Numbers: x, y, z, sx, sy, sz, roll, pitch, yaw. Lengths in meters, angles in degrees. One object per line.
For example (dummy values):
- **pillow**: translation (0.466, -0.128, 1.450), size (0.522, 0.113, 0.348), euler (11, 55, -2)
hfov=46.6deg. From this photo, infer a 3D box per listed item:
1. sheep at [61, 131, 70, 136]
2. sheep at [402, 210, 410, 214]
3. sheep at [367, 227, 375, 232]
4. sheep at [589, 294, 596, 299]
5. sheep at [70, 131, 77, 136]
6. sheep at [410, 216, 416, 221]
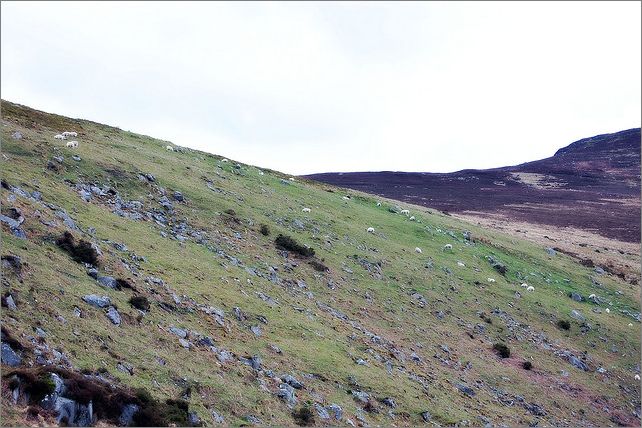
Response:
- **sheep**: translation (-40.398, -12.953, 118.330), size (1.165, 0.483, 1.717), euler (-3, 9, -33)
- **sheep**: translation (19.254, -0.603, 167.240), size (1.698, 0.794, 0.848), euler (-3, 14, -19)
- **sheep**: translation (9.438, 2.930, 139.219), size (0.693, 0.657, 1.267), euler (-3, 2, -7)
- **sheep**: translation (50.582, 15.326, 138.372), size (0.532, 0.871, 1.734), euler (0, 4, 33)
- **sheep**: translation (-39.444, -13.004, 119.440), size (0.755, 0.459, 0.721), euler (0, -3, -39)
- **sheep**: translation (19.791, 0.782, 159.965), size (0.843, 0.570, 1.176), euler (4, 3, 18)
